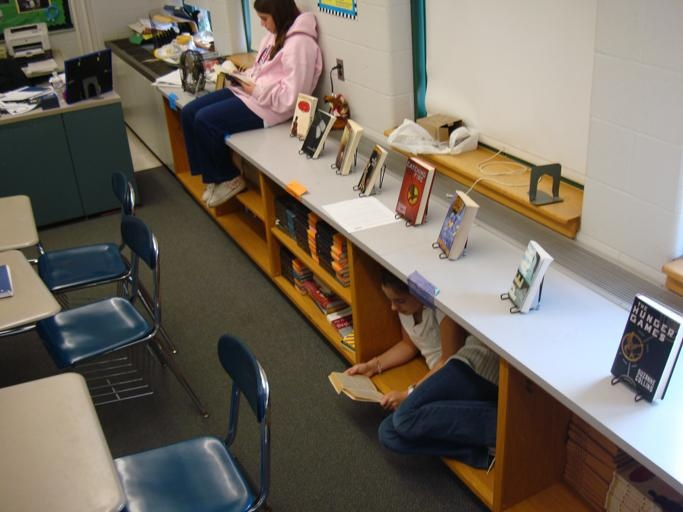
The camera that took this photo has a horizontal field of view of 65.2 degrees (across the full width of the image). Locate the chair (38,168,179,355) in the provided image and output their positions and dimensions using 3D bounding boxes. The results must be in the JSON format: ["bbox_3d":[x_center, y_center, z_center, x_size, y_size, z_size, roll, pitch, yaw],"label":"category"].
[{"bbox_3d":[-1.552,0.028,3.483,0.623,1.154,0.629,-12,40,-26],"label":"chair"}]

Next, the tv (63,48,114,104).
[{"bbox_3d":[-2.047,-1.464,4.363,0.210,0.350,0.460,20,39,36],"label":"tv"}]

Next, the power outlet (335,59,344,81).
[{"bbox_3d":[-0.014,-1.307,3.739,0.015,0.170,0.089,-16,29,-27],"label":"power outlet"}]

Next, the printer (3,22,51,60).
[{"bbox_3d":[-3.236,-2.222,5.498,0.424,0.266,0.424,-24,36,-27],"label":"printer"}]

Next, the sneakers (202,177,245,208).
[{"bbox_3d":[-0.936,-0.529,4.183,0.300,0.195,0.185,-31,37,-2],"label":"sneakers"}]

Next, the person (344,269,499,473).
[{"bbox_3d":[0.410,0.561,2.641,0.647,0.420,1.044,-9,48,3],"label":"person"}]

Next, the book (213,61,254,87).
[{"bbox_3d":[-0.851,-1.456,4.248,0.328,0.134,0.358,-11,40,-23],"label":"book"}]

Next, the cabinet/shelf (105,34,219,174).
[{"bbox_3d":[-1.609,-1.371,4.838,0.457,0.783,1.527,-17,44,-27],"label":"cabinet/shelf"}]

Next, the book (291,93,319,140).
[{"bbox_3d":[-0.249,-0.929,3.587,0.095,0.372,0.262,-4,29,-30],"label":"book"}]

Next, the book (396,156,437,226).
[{"bbox_3d":[0.382,-0.316,2.691,0.103,0.349,0.248,-1,28,-24],"label":"book"}]

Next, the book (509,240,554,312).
[{"bbox_3d":[0.752,0.091,2.108,0.119,0.248,0.175,2,26,2],"label":"book"}]

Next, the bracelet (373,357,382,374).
[{"bbox_3d":[0.193,0.583,2.830,0.038,0.065,0.021,5,-5,16],"label":"bracelet"}]
